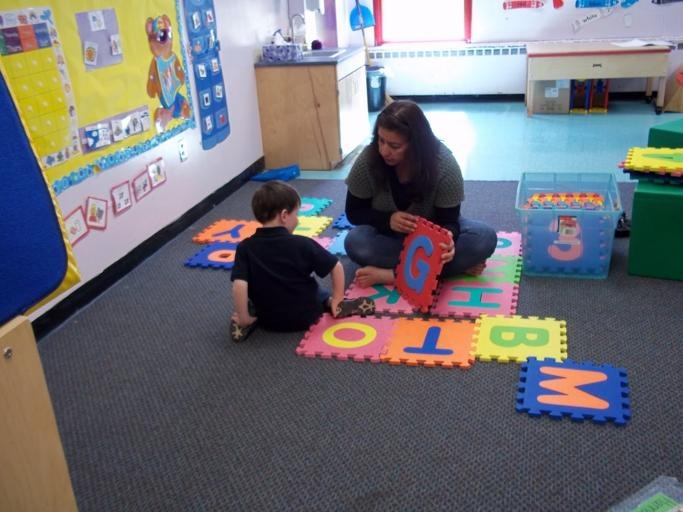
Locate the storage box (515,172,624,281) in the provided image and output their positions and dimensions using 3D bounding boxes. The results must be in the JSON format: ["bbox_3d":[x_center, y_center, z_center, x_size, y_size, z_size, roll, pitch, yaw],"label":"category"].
[{"bbox_3d":[1.159,-0.167,2.495,0.519,0.387,0.633,-3,22,12],"label":"storage box"}]

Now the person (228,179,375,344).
[{"bbox_3d":[-0.239,0.024,2.172,0.724,0.715,0.447,-2,8,15],"label":"person"}]

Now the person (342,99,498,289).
[{"bbox_3d":[0.365,-0.304,2.305,0.711,0.830,0.632,1,35,11],"label":"person"}]

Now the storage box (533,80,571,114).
[{"bbox_3d":[2.259,-1.708,5.159,0.277,0.280,0.146,1,26,13],"label":"storage box"}]

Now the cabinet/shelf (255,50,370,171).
[{"bbox_3d":[-0.188,-1.443,4.534,0.677,0.911,1.317,6,31,12],"label":"cabinet/shelf"}]

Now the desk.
[{"bbox_3d":[2.662,-1.849,5.030,0.812,0.434,0.462,1,37,12],"label":"desk"}]
